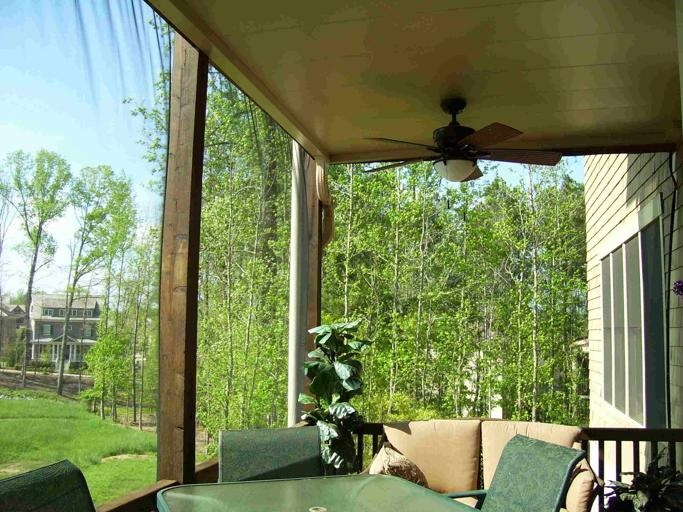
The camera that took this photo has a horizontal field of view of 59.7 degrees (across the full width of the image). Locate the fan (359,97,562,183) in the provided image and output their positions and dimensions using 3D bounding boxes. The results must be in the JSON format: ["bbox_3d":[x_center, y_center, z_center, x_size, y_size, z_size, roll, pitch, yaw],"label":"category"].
[{"bbox_3d":[1.150,-1.034,5.479,1.342,0.702,1.163,-4,-14,23],"label":"fan"}]

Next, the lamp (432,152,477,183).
[{"bbox_3d":[1.019,-0.793,5.295,0.337,0.139,0.290,8,-15,-24],"label":"lamp"}]
